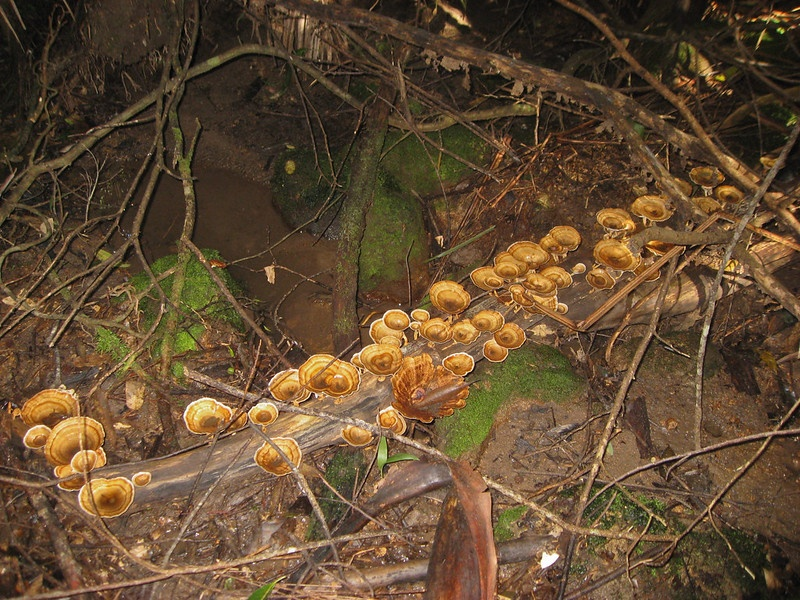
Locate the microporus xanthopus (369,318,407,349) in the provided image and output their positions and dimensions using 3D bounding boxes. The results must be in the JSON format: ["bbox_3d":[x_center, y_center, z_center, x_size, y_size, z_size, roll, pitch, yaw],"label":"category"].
[{"bbox_3d":[-0.184,0.426,9.103,0.325,0.135,0.332,20,54,16],"label":"microporus xanthopus"}]

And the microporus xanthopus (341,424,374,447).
[{"bbox_3d":[-0.520,1.584,8.820,0.288,0.123,0.298,9,60,-5],"label":"microporus xanthopus"}]

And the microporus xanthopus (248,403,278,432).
[{"bbox_3d":[-1.596,1.346,8.755,0.296,0.089,0.327,5,76,-18],"label":"microporus xanthopus"}]
